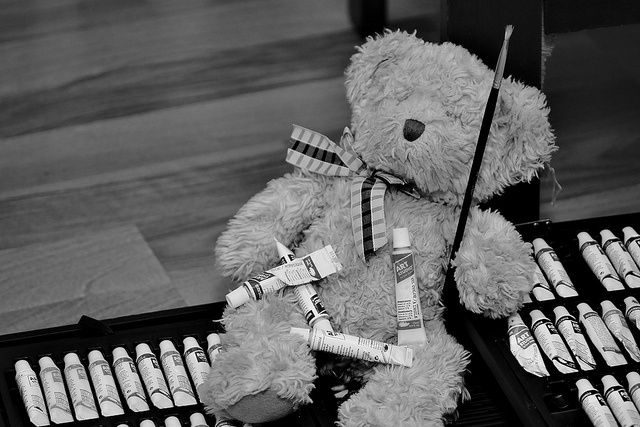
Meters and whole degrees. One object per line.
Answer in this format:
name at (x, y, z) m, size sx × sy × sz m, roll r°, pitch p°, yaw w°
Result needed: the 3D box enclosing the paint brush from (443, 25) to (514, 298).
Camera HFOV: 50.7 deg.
paint brush at (0.274, -0.088, 1.132) m, size 0.089 × 0.371 × 0.153 m, roll 4°, pitch 41°, yaw 16°
